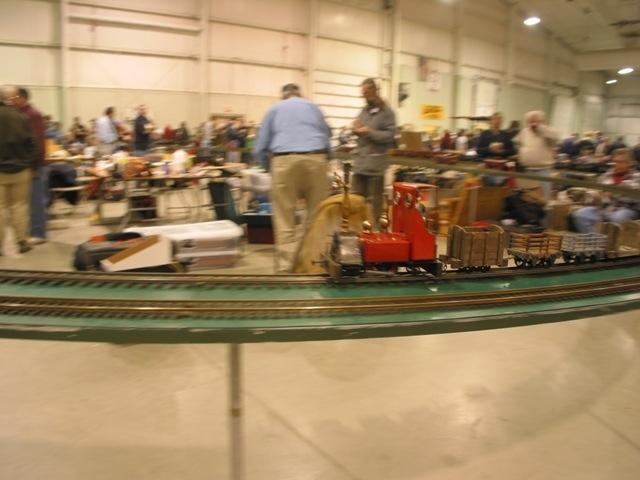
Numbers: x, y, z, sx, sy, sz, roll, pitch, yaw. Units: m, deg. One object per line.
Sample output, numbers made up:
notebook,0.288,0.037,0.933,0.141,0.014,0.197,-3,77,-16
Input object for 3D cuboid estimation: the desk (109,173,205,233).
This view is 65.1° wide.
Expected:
desk,-2.524,-0.569,8.758,0.959,0.929,1.164,-28,29,-13
